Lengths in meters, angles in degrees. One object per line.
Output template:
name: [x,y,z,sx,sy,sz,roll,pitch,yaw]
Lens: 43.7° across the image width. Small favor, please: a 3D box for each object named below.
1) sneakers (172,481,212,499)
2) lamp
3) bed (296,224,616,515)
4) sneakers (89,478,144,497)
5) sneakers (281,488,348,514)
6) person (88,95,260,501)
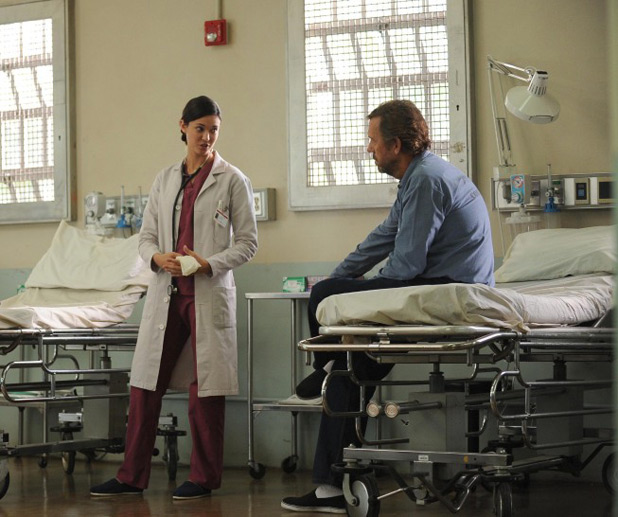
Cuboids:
sneakers: [-0.570,1.117,3.731,0.161,0.067,0.086,8,-10,-26]
lamp: [1.188,-0.835,4.291,0.375,0.713,0.379,-1,-5,15]
bed: [0.781,0.474,3.573,0.931,1.259,1.773,-3,-6,38]
sneakers: [-0.962,1.141,3.843,0.261,0.112,0.105,5,-6,-3]
sneakers: [0.031,1.094,3.480,0.304,0.129,0.111,1,-6,14]
person: [-0.607,0.183,3.816,0.691,1.979,0.413,0,-5,-5]
